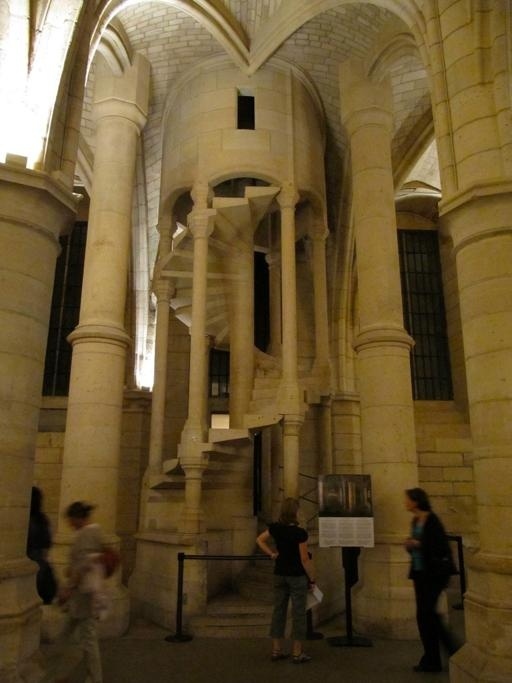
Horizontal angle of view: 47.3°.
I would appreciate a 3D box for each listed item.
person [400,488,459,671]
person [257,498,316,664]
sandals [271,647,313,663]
[{"bbox_3d":[1.275,1.758,4.241,0.324,1.345,0.794,-3,-14,15],"label":"person"},{"bbox_3d":[0.257,1.906,4.638,0.415,1.290,0.536,4,-14,-12],"label":"person"},{"bbox_3d":[0.282,2.505,4.697,0.371,0.137,0.122,0,-22,0],"label":"sandals"}]
